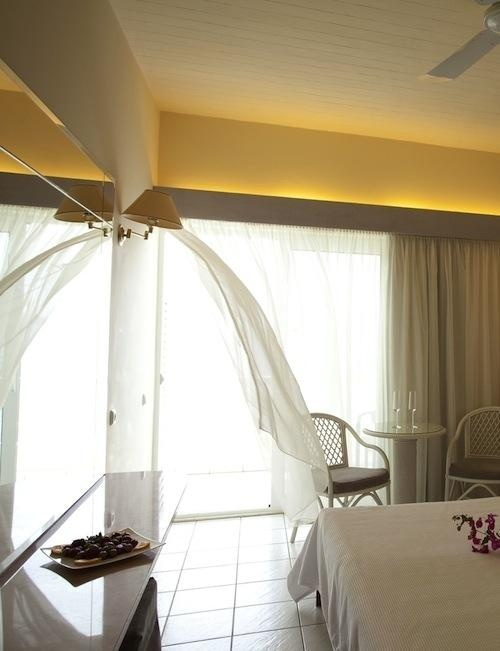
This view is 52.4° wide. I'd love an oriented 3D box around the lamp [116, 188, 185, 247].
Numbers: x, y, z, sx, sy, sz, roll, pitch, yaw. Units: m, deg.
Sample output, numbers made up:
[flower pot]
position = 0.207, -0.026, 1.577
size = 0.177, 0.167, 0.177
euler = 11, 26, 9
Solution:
[lamp]
position = -0.544, -0.547, 2.707
size = 0.325, 0.333, 0.286
euler = 9, -2, -11
